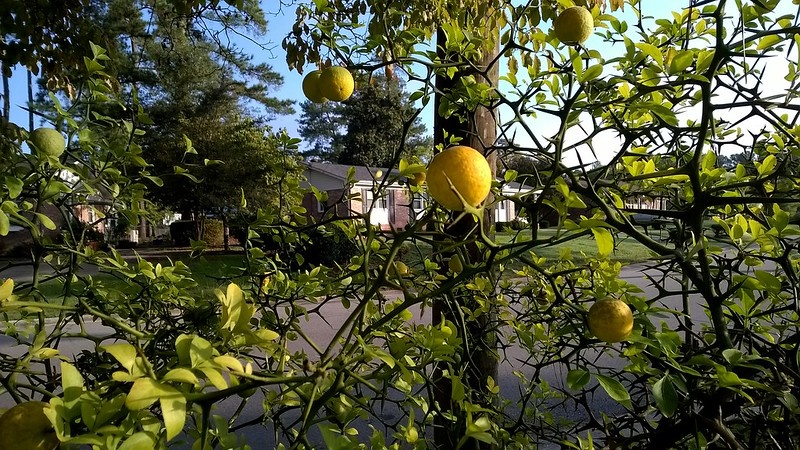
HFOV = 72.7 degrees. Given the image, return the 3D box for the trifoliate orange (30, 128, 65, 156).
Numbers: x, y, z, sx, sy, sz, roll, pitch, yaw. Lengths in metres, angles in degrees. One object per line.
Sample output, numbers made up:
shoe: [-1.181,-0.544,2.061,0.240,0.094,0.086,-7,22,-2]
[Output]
trifoliate orange: [-1.679,-0.395,2.603,0.151,0.124,0.144,16,-10,-42]

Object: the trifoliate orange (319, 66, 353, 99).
trifoliate orange: [-0.279,-0.639,2.502,0.146,0.166,0.149,-3,-3,-3]
